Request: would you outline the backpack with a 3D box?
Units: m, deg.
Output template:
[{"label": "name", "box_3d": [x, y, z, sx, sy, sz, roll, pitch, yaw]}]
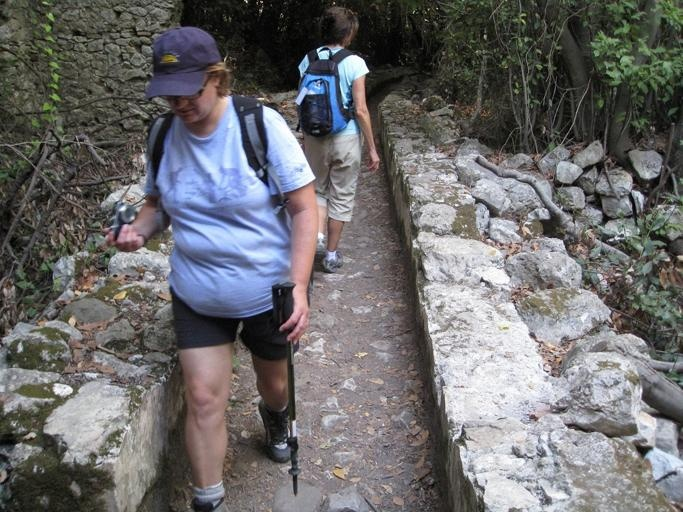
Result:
[{"label": "backpack", "box_3d": [-0.156, -1.393, 4.463, 0.486, 0.751, 0.425, 5, 14, 16]}]

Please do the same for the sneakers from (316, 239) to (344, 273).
[{"label": "sneakers", "box_3d": [-0.130, 0.002, 5.033, 0.145, 0.175, 0.399, 0, 27, 8]}]

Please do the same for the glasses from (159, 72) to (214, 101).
[{"label": "glasses", "box_3d": [-0.662, -0.691, 2.173, 0.155, 0.129, 0.260, 4, 14, 19]}]

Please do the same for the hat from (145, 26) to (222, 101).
[{"label": "hat", "box_3d": [-0.680, -0.930, 2.293, 0.231, 0.173, 0.336, -19, 27, -19]}]

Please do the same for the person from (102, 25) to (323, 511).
[{"label": "person", "box_3d": [-0.534, 0.202, 2.547, 0.890, 2.370, 0.925, -17, 34, -23]}]
